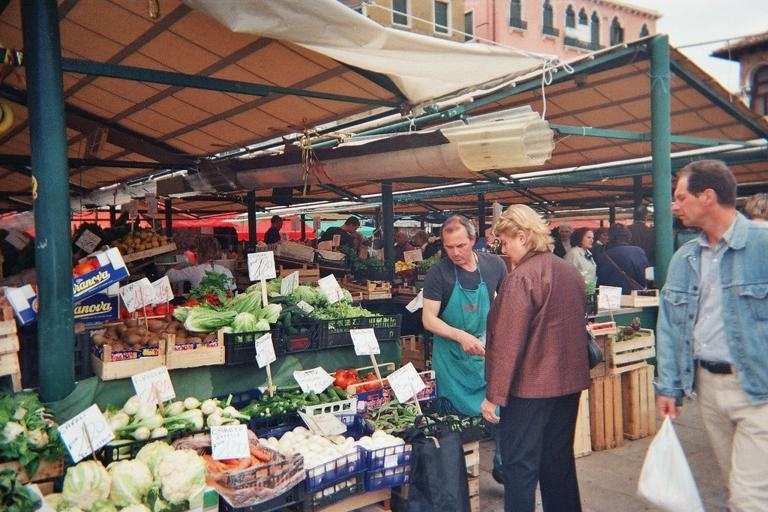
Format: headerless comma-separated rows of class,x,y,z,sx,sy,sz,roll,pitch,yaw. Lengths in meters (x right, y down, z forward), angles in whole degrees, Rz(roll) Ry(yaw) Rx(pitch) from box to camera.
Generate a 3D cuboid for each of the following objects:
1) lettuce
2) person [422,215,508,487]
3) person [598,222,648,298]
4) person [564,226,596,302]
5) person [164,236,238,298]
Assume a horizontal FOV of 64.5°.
lettuce,-1.504,0.609,6.034,1.031,0.384,0.303,-11,30,-26
person,0.836,0.891,6.337,0.985,2.556,0.865,0,0,-18
person,3.640,0.156,9.310,0.798,1.254,0.491,-1,12,21
person,3.001,0.310,9.092,0.521,1.489,0.745,-6,10,13
person,-2.769,0.171,9.567,1.173,1.327,1.044,6,-2,-42
